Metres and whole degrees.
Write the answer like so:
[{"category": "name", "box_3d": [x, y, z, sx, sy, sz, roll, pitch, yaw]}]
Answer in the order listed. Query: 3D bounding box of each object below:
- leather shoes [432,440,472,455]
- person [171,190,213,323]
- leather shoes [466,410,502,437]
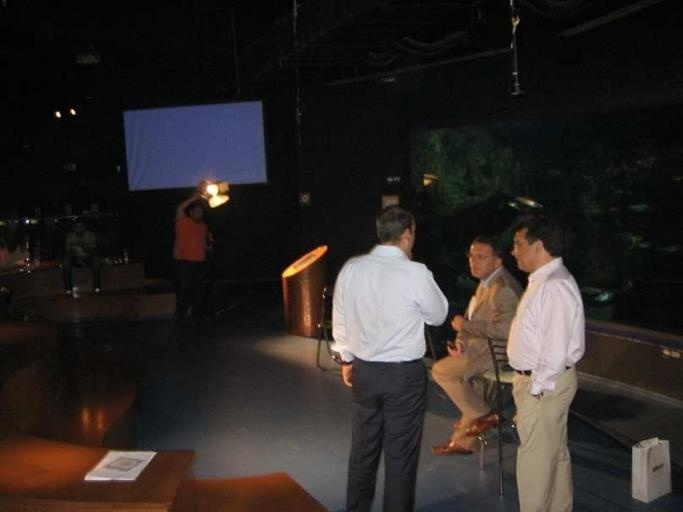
[{"category": "leather shoes", "box_3d": [0.896, 1.569, 4.382, 0.336, 0.128, 0.126, 4, -3, 0]}, {"category": "person", "box_3d": [-2.384, -0.038, 8.405, 0.610, 2.006, 0.503, -5, 11, -18]}, {"category": "leather shoes", "box_3d": [1.106, 1.306, 4.129, 0.280, 0.182, 0.125, -25, -29, 9]}]
